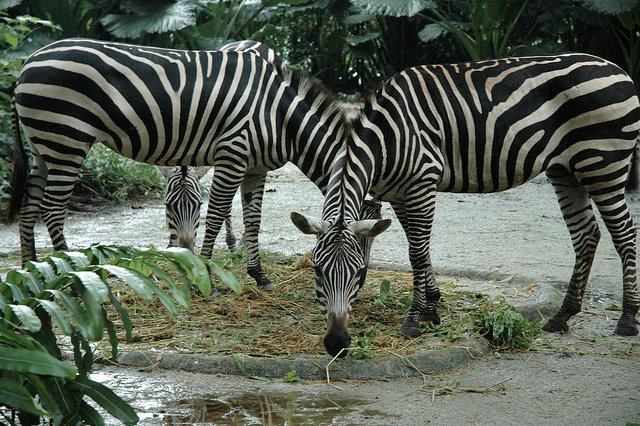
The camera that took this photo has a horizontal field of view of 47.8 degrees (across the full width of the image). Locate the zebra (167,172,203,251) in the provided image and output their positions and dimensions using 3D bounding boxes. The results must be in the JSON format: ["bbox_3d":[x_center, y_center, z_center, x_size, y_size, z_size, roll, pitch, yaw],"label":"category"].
[{"bbox_3d":[-1.306,-0.031,6.825,0.375,0.812,0.575,0,-7,-8],"label":"zebra"}]
